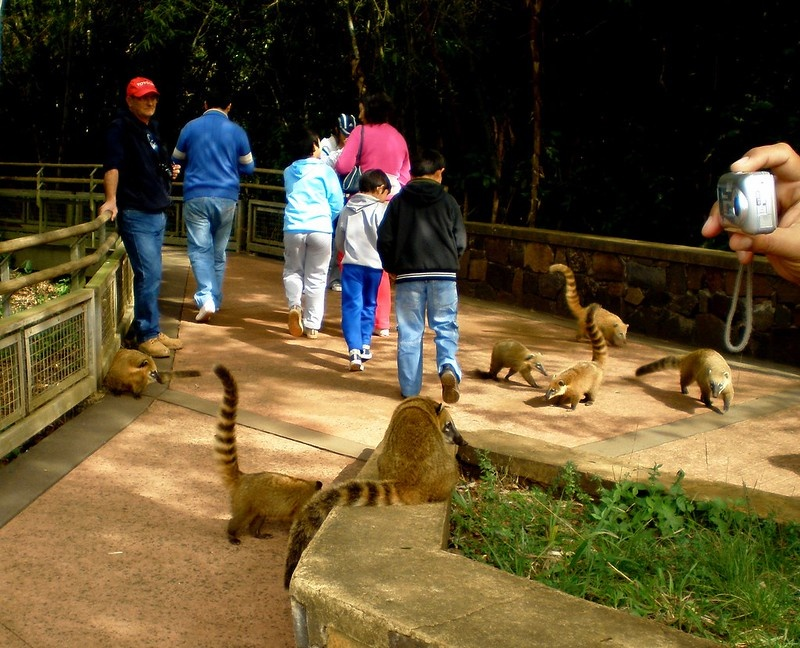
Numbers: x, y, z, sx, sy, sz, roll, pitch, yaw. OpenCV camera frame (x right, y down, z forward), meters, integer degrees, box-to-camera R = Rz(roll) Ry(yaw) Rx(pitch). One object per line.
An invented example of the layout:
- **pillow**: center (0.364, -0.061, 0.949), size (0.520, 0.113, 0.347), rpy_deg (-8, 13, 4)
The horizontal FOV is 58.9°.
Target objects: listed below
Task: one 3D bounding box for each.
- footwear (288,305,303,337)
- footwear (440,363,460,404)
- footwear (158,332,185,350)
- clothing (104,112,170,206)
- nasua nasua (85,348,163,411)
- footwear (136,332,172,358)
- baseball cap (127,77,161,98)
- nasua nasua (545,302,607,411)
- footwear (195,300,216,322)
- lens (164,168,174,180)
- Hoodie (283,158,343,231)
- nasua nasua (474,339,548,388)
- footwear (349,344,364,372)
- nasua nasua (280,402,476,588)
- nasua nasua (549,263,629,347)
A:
- **footwear**: center (-1.149, -0.034, 7.761), size (0.138, 0.331, 0.138), rpy_deg (-2, 9, 1)
- **footwear**: center (0.409, 0.490, 5.838), size (0.134, 0.299, 0.137), rpy_deg (-2, 10, 8)
- **footwear**: center (-2.207, 0.180, 6.889), size (0.307, 0.121, 0.109), rpy_deg (34, 20, -46)
- **clothing**: center (-2.405, -1.519, 6.647), size (0.378, 0.922, 0.950), rpy_deg (8, 16, 18)
- **nasua nasua**: center (-2.130, 0.399, 5.716), size (0.598, 0.398, 0.323), rpy_deg (9, 17, 32)
- **footwear**: center (-2.265, 0.205, 6.574), size (0.306, 0.131, 0.172), rpy_deg (17, 34, 19)
- **baseball cap**: center (-2.318, -2.087, 6.381), size (0.220, 0.165, 0.296), rpy_deg (-21, 25, -39)
- **nasua nasua**: center (1.657, 0.266, 6.452), size (0.402, 0.845, 1.088), rpy_deg (11, 14, 30)
- **footwear**: center (-2.174, -0.120, 7.922), size (0.136, 0.169, 0.388), rpy_deg (10, -25, -19)
- **lens**: center (-2.222, -1.433, 6.809), size (0.028, 0.116, 0.111), rpy_deg (-27, 6, 10)
- **Hoodie**: center (-1.016, -1.419, 7.902), size (0.638, 0.805, 0.505), rpy_deg (0, 3, 9)
- **nasua nasua**: center (1.133, 0.386, 6.856), size (0.700, 0.426, 0.199), rpy_deg (7, 10, 40)
- **footwear**: center (-0.417, 0.351, 6.736), size (0.130, 0.213, 0.139), rpy_deg (3, 12, -5)
- **nasua nasua**: center (-0.043, 0.741, 3.608), size (0.566, 0.454, 0.996), rpy_deg (3, 37, 19)
- **nasua nasua**: center (2.447, -0.167, 8.984), size (0.349, 0.839, 1.233), rpy_deg (-6, 18, -38)
